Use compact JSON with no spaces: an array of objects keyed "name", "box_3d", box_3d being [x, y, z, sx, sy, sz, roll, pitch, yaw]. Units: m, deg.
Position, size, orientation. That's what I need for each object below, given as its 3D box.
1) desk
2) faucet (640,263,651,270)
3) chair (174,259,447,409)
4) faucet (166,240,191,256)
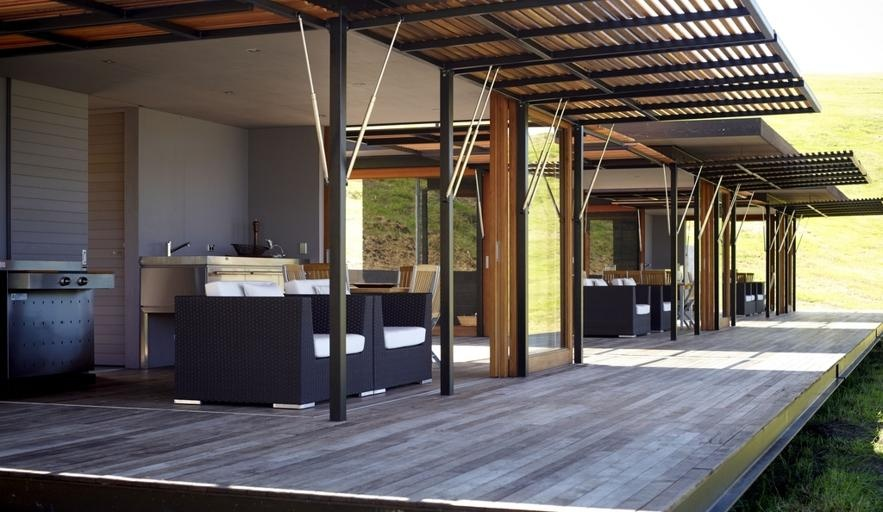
[{"name":"desk","box_3d":[-2.797,0.703,8.069,0.751,1.005,1.995,-1,-1,25]},{"name":"faucet","box_3d":[7.194,0.375,23.519,0.306,0.286,0.620,-4,-6,23]},{"name":"chair","box_3d":[-1.460,0.940,7.591,1.527,1.338,2.399,-2,0,41]},{"name":"faucet","box_3d":[-4.034,-0.117,10.205,0.315,0.149,0.157,-2,-1,7]}]
